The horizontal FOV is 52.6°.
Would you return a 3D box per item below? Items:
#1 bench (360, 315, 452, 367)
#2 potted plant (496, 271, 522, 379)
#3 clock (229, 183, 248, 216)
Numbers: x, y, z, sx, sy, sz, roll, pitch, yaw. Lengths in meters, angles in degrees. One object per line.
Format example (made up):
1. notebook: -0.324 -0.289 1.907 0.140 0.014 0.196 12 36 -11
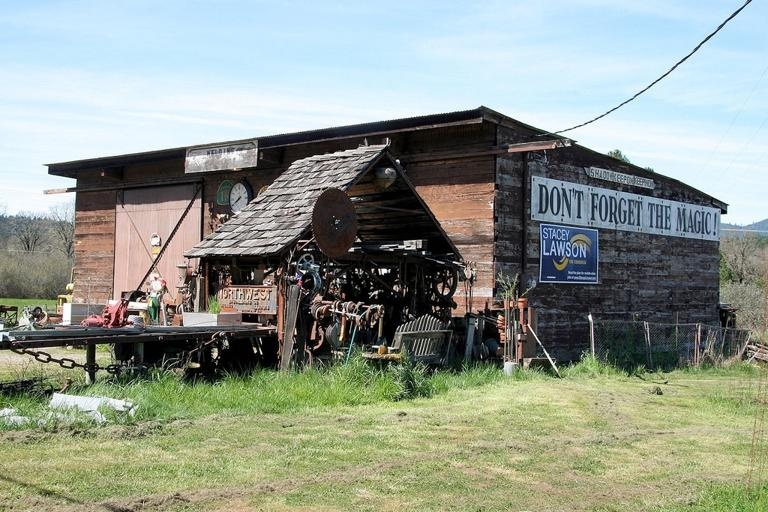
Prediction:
1. bench: 0.598 2.025 18.115 1.150 1.154 1.855 2 0 -37
2. potted plant: 3.220 1.652 20.211 0.718 2.126 3.190 4 7 8
3. clock: -4.834 -1.957 26.007 0.331 1.018 0.957 -2 9 -38
